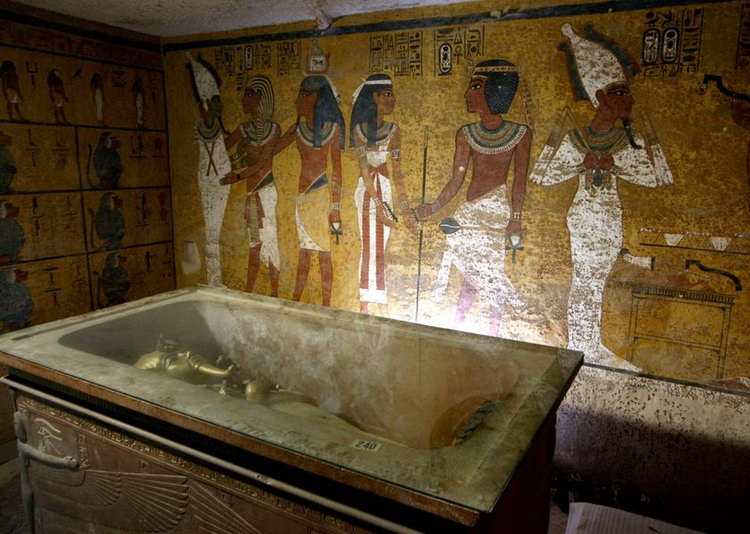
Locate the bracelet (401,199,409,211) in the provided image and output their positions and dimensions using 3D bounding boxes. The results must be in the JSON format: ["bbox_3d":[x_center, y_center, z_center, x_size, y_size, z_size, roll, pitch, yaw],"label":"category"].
[{"bbox_3d":[0.183,-0.379,3.663,0.060,0.058,0.015,31,12,22],"label":"bracelet"}]

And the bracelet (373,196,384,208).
[{"bbox_3d":[0.017,-0.396,3.719,0.050,0.053,0.013,-18,-4,34],"label":"bracelet"}]

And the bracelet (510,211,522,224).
[{"bbox_3d":[0.803,-0.289,3.418,0.048,0.092,0.051,0,6,23],"label":"bracelet"}]

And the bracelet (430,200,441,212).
[{"bbox_3d":[0.363,-0.365,3.586,0.016,0.059,0.063,0,45,-48],"label":"bracelet"}]

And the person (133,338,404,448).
[{"bbox_3d":[-0.580,0.609,3.161,1.324,0.343,0.501,17,16,12],"label":"person"}]
